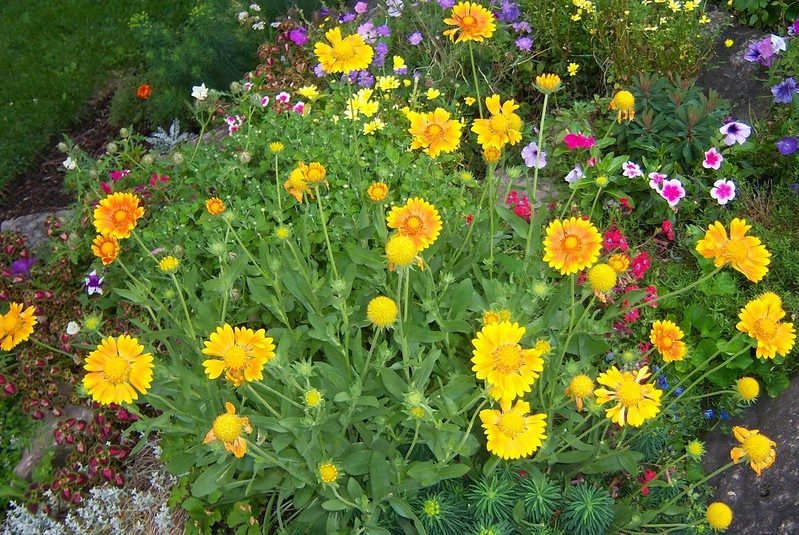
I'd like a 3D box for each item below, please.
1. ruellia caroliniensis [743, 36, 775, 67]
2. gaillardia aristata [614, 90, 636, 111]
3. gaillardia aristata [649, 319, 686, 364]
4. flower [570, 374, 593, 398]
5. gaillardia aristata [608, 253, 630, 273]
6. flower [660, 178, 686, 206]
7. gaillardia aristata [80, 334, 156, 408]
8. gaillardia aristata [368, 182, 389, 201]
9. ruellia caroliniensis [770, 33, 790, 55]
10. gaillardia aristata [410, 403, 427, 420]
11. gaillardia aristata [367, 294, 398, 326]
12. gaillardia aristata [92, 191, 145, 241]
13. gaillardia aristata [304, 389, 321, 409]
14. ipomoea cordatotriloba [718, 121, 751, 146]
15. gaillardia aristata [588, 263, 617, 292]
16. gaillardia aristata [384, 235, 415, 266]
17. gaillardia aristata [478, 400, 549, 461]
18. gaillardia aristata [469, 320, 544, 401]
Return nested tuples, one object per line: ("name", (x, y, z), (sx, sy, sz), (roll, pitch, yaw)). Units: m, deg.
("ruellia caroliniensis", (3.024, -1.746, 5.028), (0.248, 0.120, 0.270), (-11, 95, 35))
("gaillardia aristata", (1.455, -1.074, 3.971), (0.133, 0.137, 0.136), (8, 27, 2))
("gaillardia aristata", (1.491, 0.434, 3.427), (0.232, 0.097, 0.267), (-3, 82, 2))
("flower", (0.958, 0.627, 3.175), (0.129, 0.089, 0.106), (20, 65, 14))
("gaillardia aristata", (1.327, -0.011, 3.604), (0.115, 0.071, 0.114), (-8, 37, -7))
("flower", (2.017, -0.555, 4.440), (0.175, 0.053, 0.202), (1, 91, 10))
("gaillardia aristata", (-1.457, 0.506, 3.075), (0.304, 0.121, 0.324), (-1, 38, -11))
("gaillardia aristata", (-0.121, -0.433, 3.377), (0.096, 0.141, 0.157), (0, 61, 5))
("ruellia caroliniensis", (3.058, -1.787, 4.858), (0.179, 0.051, 0.200), (-5, 80, 8))
("gaillardia aristata", (0.094, 0.705, 2.964), (0.071, 0.023, 0.071), (44, 85, 6))
("gaillardia aristata", (-0.089, 0.223, 3.140), (0.135, 0.148, 0.153), (-4, 94, 15))
("gaillardia aristata", (-1.561, -0.298, 3.377), (0.235, 0.183, 0.272), (13, 63, 11))
("gaillardia aristata", (-0.445, 0.658, 3.063), (0.079, 0.092, 0.076), (5, 61, 8))
("ipomoea cordatotriloba", (2.521, -1.005, 4.557), (0.204, 0.149, 0.150), (25, 66, 17))
("gaillardia aristata", (1.057, 0.044, 3.132), (0.131, 0.127, 0.132), (6, 97, 21))
("gaillardia aristata", (0.005, -0.082, 3.115), (0.140, 0.133, 0.143), (14, 104, 11))
("gaillardia aristata", (0.578, 0.798, 3.018), (0.320, 0.170, 0.246), (-11, 61, -2))
("gaillardia aristata", (0.521, 0.455, 2.968), (0.340, 0.249, 0.340), (38, 71, 22))
